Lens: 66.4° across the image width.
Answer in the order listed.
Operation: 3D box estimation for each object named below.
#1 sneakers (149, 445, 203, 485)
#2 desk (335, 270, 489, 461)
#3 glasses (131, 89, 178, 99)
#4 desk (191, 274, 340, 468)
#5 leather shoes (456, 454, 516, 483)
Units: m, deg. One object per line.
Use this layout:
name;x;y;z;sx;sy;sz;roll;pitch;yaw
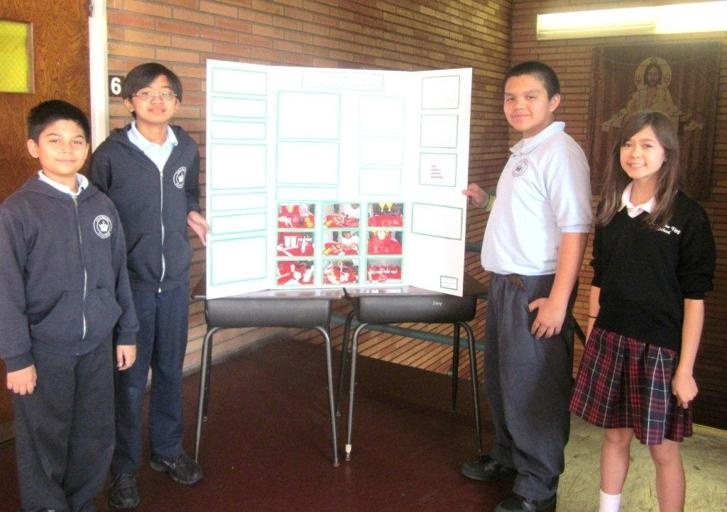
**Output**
sneakers;-0.939;1.078;2.884;0.312;0.133;0.124;14;15;20
desk;0.263;0.612;3.230;0.893;0.856;0.795;2;4;2
glasses;-0.970;-0.746;2.593;0.180;0.043;0.045;-4;10;-24
desk;-0.537;0.634;3.106;0.831;0.819;0.685;1;0;-13
leather shoes;0.623;1.100;2.896;0.301;0.111;0.112;2;14;-2
